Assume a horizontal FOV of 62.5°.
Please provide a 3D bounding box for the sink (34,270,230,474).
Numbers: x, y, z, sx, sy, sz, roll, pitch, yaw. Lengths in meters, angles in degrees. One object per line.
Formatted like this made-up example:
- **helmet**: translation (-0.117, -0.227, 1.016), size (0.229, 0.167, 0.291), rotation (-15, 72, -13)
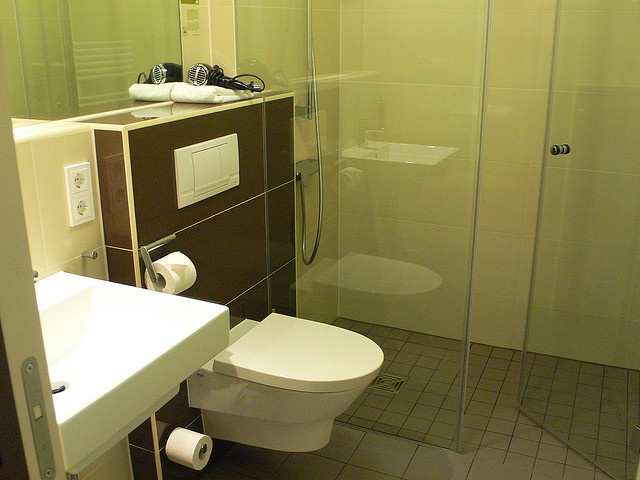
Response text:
- **sink**: translation (-0.649, 0.289, 1.452), size (0.571, 0.177, 0.553), rotation (13, 27, 26)

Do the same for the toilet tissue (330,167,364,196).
- **toilet tissue**: translation (0.120, -0.261, 2.256), size (0.057, 0.075, 0.102), rotation (-32, 8, -36)

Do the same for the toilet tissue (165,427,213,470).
- **toilet tissue**: translation (-0.466, 0.738, 1.953), size (0.167, 0.154, 0.148), rotation (7, 12, 30)

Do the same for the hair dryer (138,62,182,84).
- **hair dryer**: translation (-0.646, -0.700, 2.184), size (0.117, 0.055, 0.117), rotation (8, 21, 26)

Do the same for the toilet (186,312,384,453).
- **toilet**: translation (-0.119, 0.597, 2.115), size (0.601, 0.378, 0.478), rotation (11, 17, 22)
